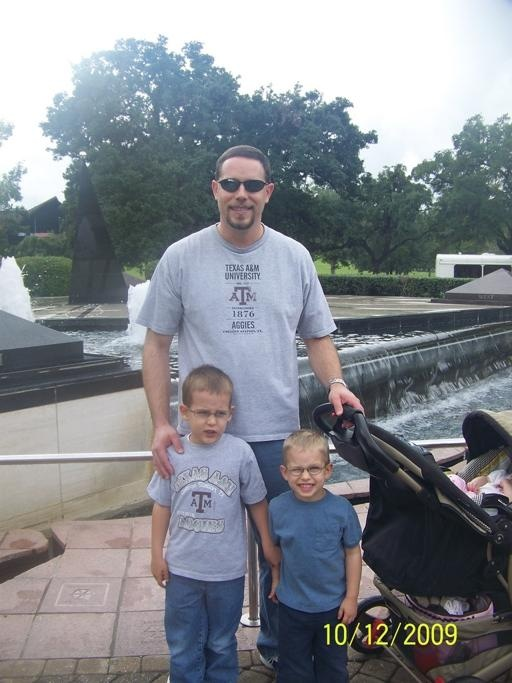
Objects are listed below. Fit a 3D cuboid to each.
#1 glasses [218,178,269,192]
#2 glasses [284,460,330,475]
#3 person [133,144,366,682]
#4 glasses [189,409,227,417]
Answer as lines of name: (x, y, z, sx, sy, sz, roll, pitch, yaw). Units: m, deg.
glasses: (-0.047, -0.466, 1.666, 0.134, 0.044, 0.034, 3, 10, -4)
glasses: (0.150, 0.374, 1.626, 0.133, 0.046, 0.057, 4, 10, 3)
person: (-0.018, -0.046, 1.779, 0.689, 1.137, 0.412, 2, 11, -12)
glasses: (-0.138, 0.210, 1.630, 0.101, 0.024, 0.027, 2, 10, -9)
